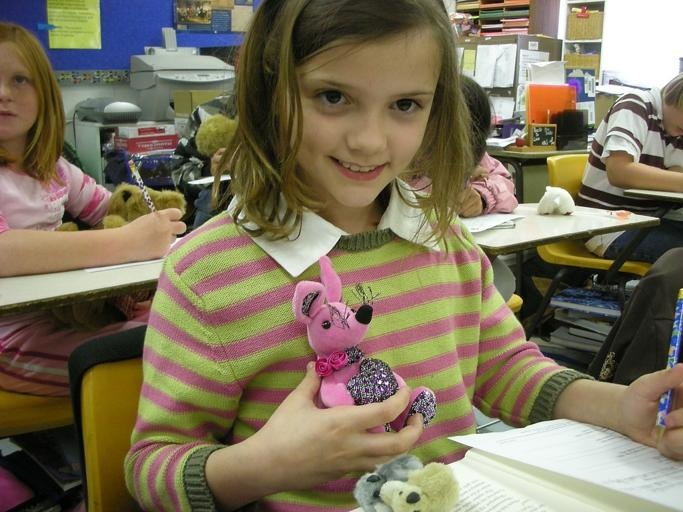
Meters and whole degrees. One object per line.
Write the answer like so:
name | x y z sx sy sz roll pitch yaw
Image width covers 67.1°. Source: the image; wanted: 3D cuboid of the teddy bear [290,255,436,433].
teddy bear | 0.019 0.113 0.689 0.166 0.217 0.166 -5 16 -21

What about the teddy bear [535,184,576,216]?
teddy bear | 1.003 -0.252 2.410 0.131 0.129 0.133 6 -3 6

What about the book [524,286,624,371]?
book | 1.262 0.393 2.731 0.392 0.161 0.520 25 35 31

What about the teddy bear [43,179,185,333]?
teddy bear | -0.768 0.006 1.775 0.223 0.545 0.429 5 6 11
